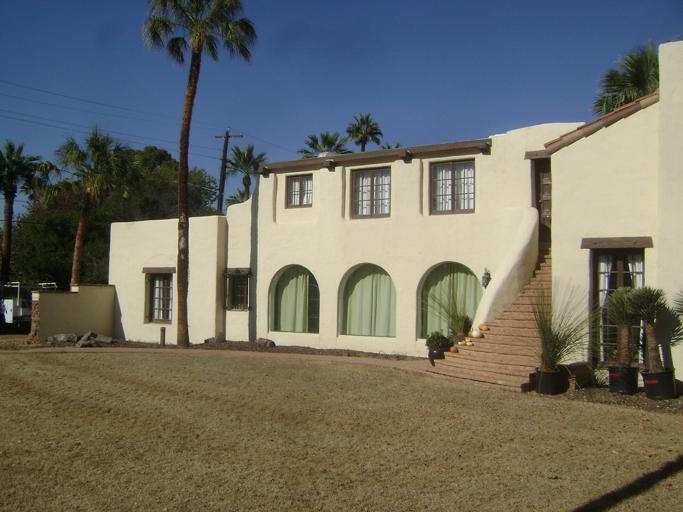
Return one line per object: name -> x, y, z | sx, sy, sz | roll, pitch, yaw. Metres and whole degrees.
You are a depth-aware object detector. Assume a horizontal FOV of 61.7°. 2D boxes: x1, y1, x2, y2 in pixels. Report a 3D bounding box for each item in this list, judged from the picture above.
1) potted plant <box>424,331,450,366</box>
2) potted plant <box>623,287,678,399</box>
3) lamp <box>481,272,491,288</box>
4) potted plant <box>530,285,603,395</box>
potted plant -> 2.657, 2.464, 15.378 | 0.634, 1.027, 0.725 | 0, -2, -18
potted plant -> 6.436, 1.718, 11.746 | 0.855, 2.159, 1.162 | 3, 4, 41
lamp -> 4.043, 0.642, 15.942 | 0.259, 0.480, 0.330 | 1, 3, 17
potted plant -> 4.872, 1.923, 12.676 | 1.030, 1.896, 1.901 | 2, 4, 33
